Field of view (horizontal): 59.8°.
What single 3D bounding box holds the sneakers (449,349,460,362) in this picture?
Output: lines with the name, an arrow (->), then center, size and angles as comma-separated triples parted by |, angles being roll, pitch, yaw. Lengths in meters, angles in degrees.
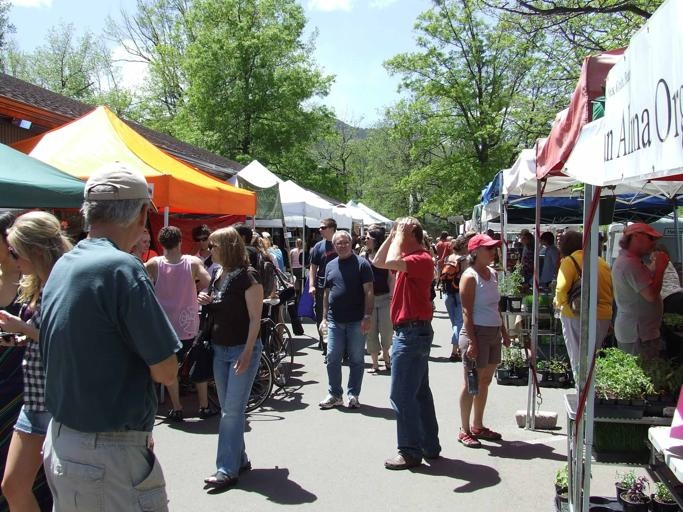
sneakers -> 2.069, 1.838, 10.813 | 0.146, 0.204, 0.460 | -1, -10, 13

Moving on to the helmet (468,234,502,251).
helmet -> 1.507, -0.147, 6.250 | 0.276, 0.152, 0.189 | -4, 5, 14

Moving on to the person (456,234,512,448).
person -> 1.429, 0.916, 6.281 | 0.407, 2.262, 0.819 | 2, 3, 29

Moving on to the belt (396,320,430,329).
belt -> 0.670, 0.658, 5.682 | 0.306, 0.088, 0.108 | 1, 3, 4

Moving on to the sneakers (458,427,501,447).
sneakers -> 1.497, 1.970, 6.436 | 0.375, 0.176, 0.200 | -1, 0, -11

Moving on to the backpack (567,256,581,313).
backpack -> 2.569, 0.311, 6.572 | 0.126, 0.600, 0.314 | 1, 3, 19

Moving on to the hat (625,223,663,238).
hat -> 3.165, -0.273, 6.216 | 0.312, 0.159, 0.210 | 11, 7, 16

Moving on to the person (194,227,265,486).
person -> -0.992, 0.907, 5.356 | 0.584, 2.323, 0.540 | 1, 3, 11

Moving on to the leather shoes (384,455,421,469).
leather shoes -> 0.594, 2.014, 5.815 | 0.338, 0.161, 0.141 | 5, -6, -6

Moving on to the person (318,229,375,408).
person -> 0.057, 0.880, 7.846 | 0.683, 2.176, 0.630 | 0, 3, -1

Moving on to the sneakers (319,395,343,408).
sneakers -> -0.146, 1.915, 7.776 | 0.291, 0.154, 0.134 | 8, -9, -43

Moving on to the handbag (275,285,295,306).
handbag -> -0.836, 0.588, 8.648 | 0.234, 0.112, 0.197 | -28, -20, 37

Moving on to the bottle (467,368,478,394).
bottle -> 1.340, 1.290, 6.077 | 0.104, 0.295, 0.358 | 1, 3, 12

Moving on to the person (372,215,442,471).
person -> 0.667, 0.846, 5.824 | 0.644, 2.444, 0.431 | -1, 3, -33

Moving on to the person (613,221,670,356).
person -> 3.101, 0.351, 6.230 | 0.524, 1.398, 0.534 | 2, 3, 31

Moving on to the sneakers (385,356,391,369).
sneakers -> 0.787, 1.824, 10.097 | 0.070, 0.219, 0.073 | -1, 1, -1
